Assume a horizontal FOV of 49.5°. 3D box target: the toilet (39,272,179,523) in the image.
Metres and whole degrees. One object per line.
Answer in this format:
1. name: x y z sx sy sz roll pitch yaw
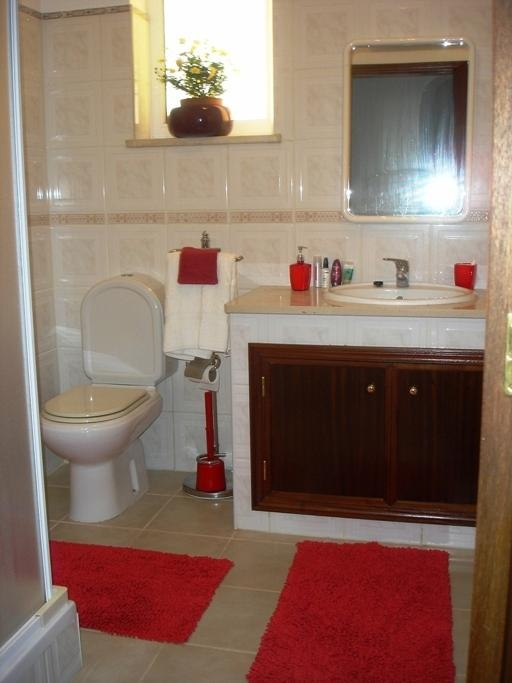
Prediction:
1. toilet: -0.611 0.220 2.355 0.473 0.997 0.618 -1 7 -1

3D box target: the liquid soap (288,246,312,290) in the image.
1. liquid soap: 0.189 -0.316 2.416 0.094 0.196 0.177 -1 7 3

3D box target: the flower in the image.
1. flower: -0.265 -1.247 2.539 0.298 0.229 0.321 0 21 -13

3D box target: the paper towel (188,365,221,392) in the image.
1. paper towel: -0.210 0.133 2.364 0.122 0.107 0.125 7 -34 20

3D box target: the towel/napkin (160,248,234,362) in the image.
1. towel/napkin: -0.255 -0.151 2.139 0.297 0.422 0.109 3 8 13

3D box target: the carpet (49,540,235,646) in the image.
1. carpet: -0.443 0.792 1.810 0.645 0.024 0.453 1 7 15

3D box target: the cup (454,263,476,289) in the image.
1. cup: 0.840 -0.279 2.305 0.098 0.126 0.105 0 14 0

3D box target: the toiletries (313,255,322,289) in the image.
1. toiletries: 0.266 -0.302 2.437 0.042 0.133 0.045 -1 7 3
